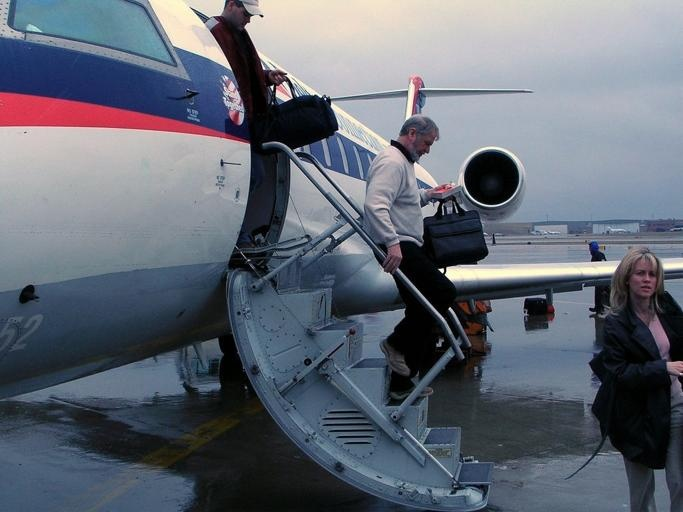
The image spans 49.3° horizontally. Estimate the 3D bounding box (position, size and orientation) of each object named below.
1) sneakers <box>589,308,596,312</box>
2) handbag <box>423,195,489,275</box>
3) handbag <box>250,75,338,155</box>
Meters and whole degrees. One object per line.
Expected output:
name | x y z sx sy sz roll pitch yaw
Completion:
sneakers | 5.590 1.208 16.608 0.188 0.100 0.171 -1 -4 6
handbag | 0.905 -0.232 6.098 0.504 0.556 0.249 -11 -11 -3
handbag | -0.414 -1.215 6.162 0.619 0.458 0.260 -16 0 19
